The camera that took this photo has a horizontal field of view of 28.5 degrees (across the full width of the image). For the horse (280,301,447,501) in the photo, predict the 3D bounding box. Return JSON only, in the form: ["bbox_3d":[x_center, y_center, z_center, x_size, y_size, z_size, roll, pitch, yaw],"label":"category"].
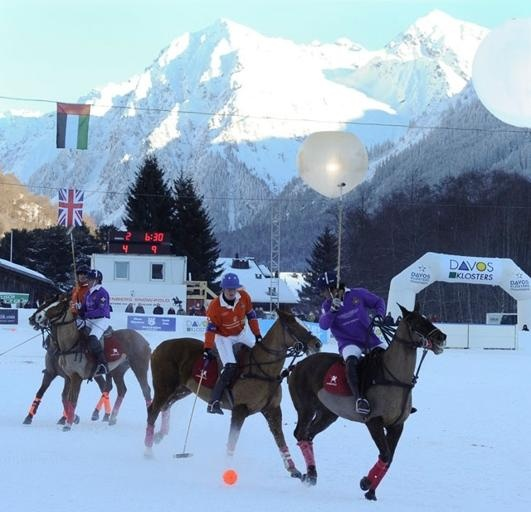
[{"bbox_3d":[1.395,2.470,17.630,2.957,3.375,0.840,-1,-6,29],"label":"horse"}]

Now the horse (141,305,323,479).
[{"bbox_3d":[-0.732,2.341,18.615,3.419,3.243,1.007,4,12,22],"label":"horse"}]

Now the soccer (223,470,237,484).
[{"bbox_3d":[-0.571,3.615,17.158,0.229,0.236,0.383,2,0,-3],"label":"soccer"}]

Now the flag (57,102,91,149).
[{"bbox_3d":[-6.593,-4.531,35.794,1.123,1.671,2.007,2,0,-10],"label":"flag"}]
